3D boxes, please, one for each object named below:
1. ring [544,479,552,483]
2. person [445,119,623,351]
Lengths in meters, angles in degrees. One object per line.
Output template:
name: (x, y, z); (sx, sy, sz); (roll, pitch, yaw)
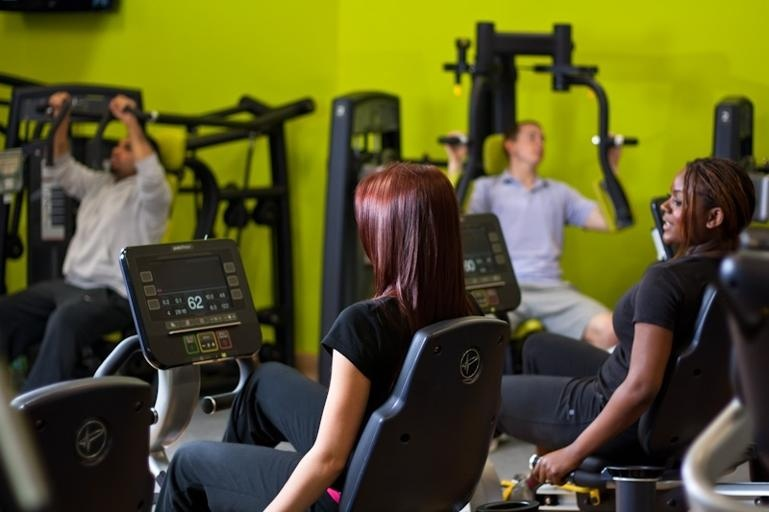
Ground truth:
ring: (0.468, 0.651, 2.106); (0.015, 0.006, 0.011); (2, -1, 36)
person: (0.770, -0.075, 3.867); (0.884, 1.362, 1.033); (0, -1, -20)
